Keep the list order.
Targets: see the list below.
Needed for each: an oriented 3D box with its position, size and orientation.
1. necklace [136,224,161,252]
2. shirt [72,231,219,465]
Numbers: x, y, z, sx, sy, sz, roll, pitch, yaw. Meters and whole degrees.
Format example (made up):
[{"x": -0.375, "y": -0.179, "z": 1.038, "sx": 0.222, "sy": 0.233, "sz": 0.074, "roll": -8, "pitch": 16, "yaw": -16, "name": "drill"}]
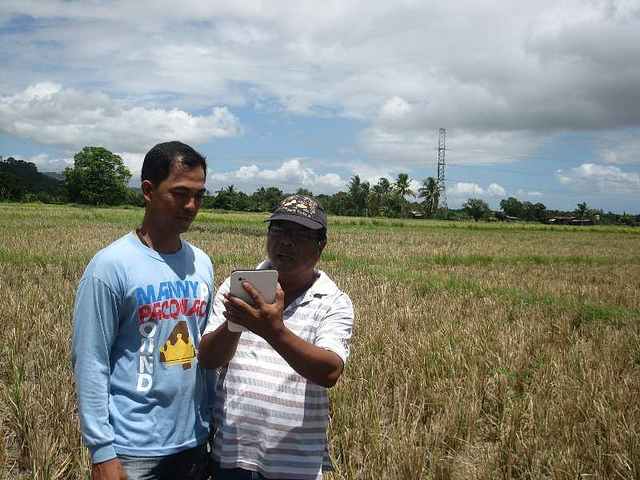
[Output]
[{"x": -1.260, "y": -0.032, "z": 3.489, "sx": 0.162, "sy": 0.038, "sz": 0.146, "roll": 56, "pitch": 12, "yaw": 25, "name": "necklace"}, {"x": -1.210, "y": 0.759, "z": 3.356, "sx": 0.949, "sy": 1.427, "sz": 0.618, "roll": -7, "pitch": 16, "yaw": -30, "name": "shirt"}]
